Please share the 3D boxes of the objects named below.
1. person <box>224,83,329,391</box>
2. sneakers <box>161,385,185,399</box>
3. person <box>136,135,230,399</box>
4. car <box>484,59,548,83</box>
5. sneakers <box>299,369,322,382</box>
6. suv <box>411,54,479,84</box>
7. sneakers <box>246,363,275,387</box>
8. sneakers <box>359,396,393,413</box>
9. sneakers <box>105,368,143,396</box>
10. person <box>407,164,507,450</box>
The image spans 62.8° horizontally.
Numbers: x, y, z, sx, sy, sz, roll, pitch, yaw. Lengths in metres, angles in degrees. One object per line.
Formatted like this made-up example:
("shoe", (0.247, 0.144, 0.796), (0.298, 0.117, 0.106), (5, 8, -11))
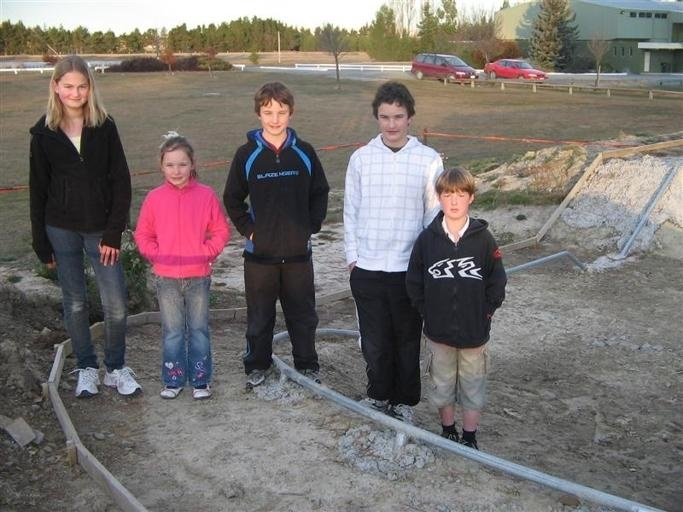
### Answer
("person", (-0.486, -0.096, 4.334), (0.794, 2.373, 0.751), (-3, 21, -3))
("sneakers", (-1.300, 1.038, 4.296), (0.076, 0.067, 0.168), (-2, -12, 12))
("person", (-1.219, 0.074, 4.255), (0.648, 1.914, 0.794), (0, 21, 6))
("car", (9.974, -10.792, 32.519), (1.355, 1.175, 4.274), (-8, 20, -18))
("sneakers", (-0.285, 0.944, 4.385), (0.246, 0.082, 0.065), (9, -5, -10))
("suv", (5.874, -10.766, 32.085), (1.521, 1.600, 3.852), (-15, 23, -33))
("sneakers", (-0.637, 0.948, 4.429), (0.089, 0.097, 0.234), (24, 35, 15))
("sneakers", (0.253, 1.112, 4.150), (0.213, 0.054, 0.111), (17, 16, -4))
("sneakers", (-1.674, 0.954, 4.325), (0.331, 0.126, 0.158), (9, 12, 30))
("person", (0.774, 0.344, 3.859), (0.606, 1.813, 0.640), (11, 24, 30))
